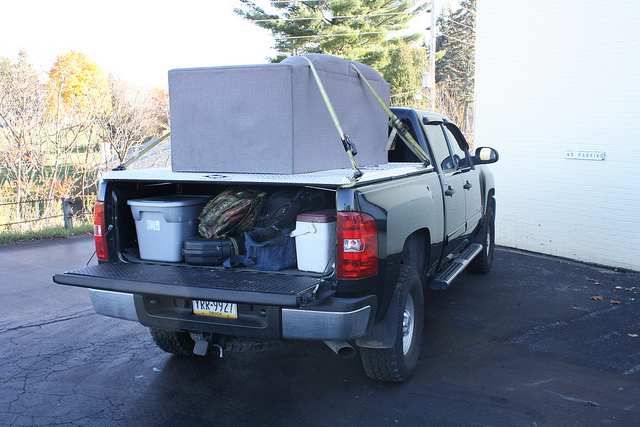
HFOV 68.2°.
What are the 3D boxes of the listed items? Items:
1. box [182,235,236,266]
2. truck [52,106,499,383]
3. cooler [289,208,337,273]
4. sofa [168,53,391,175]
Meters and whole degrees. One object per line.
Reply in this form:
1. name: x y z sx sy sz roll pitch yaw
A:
1. box: -1.147 0.402 4.910 0.541 0.277 0.142 -2 14 -6
2. truck: 0.141 0.010 7.051 3.642 2.513 6.983 4 9 27
3. cooler: 0.020 0.283 4.869 0.435 0.555 0.675 3 5 27
4. sofa: -0.448 -1.104 6.012 2.339 1.603 2.631 7 10 21
